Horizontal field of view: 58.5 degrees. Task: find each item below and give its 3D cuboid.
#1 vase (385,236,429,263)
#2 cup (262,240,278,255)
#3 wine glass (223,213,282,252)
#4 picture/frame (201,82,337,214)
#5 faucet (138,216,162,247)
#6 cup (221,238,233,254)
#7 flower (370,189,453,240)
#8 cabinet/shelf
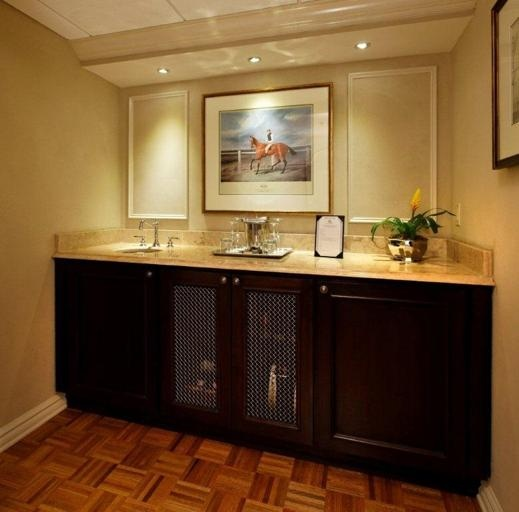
[{"bbox_3d":[0.798,-0.035,2.528,0.168,0.108,0.136,2,-1,-34],"label":"vase"},{"bbox_3d":[0.071,-0.059,2.895,0.083,0.116,0.114,1,3,15],"label":"cup"},{"bbox_3d":[-0.055,-0.130,2.891,0.260,0.168,0.269,0,7,6],"label":"wine glass"},{"bbox_3d":[0.099,-0.729,3.028,0.865,0.854,0.031,0,2,20],"label":"picture/frame"},{"bbox_3d":[-0.768,-0.175,3.234,0.144,0.221,0.362,-4,16,-14],"label":"faucet"},{"bbox_3d":[-0.214,-0.069,3.088,0.099,0.119,0.102,-1,2,0],"label":"cup"},{"bbox_3d":[0.889,-0.223,2.644,0.413,0.310,0.452,6,5,-27],"label":"flower"},{"bbox_3d":[-0.090,0.594,2.742,2.564,0.976,0.492,1,-2,29],"label":"cabinet/shelf"}]
